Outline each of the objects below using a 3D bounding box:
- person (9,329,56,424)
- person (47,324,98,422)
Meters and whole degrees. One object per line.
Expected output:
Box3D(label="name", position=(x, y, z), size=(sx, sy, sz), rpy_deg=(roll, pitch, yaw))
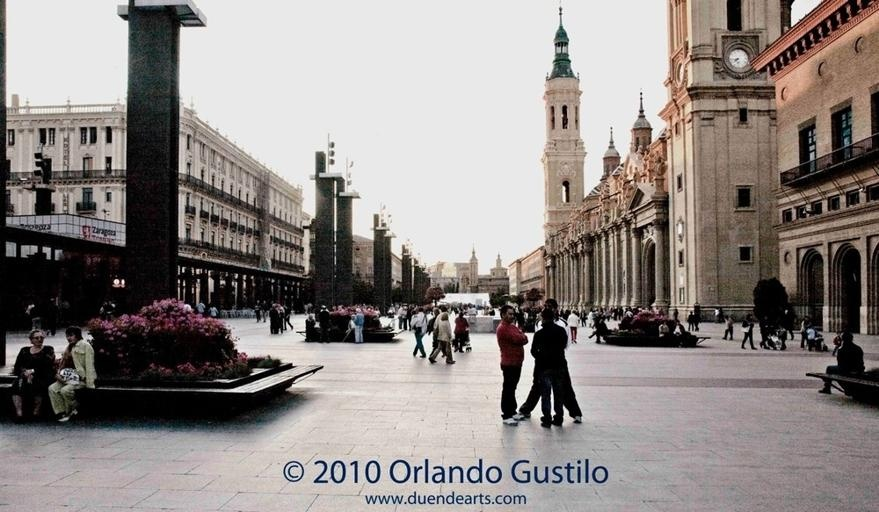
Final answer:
Box3D(label="person", position=(-15.548, 4.679, 36.785), size=(1.390, 3.918, 1.129), rpy_deg=(1, -1, 3))
Box3D(label="person", position=(-14.028, 4.515, 36.365), size=(1.655, 3.581, 0.660), rpy_deg=(1, -7, -20))
